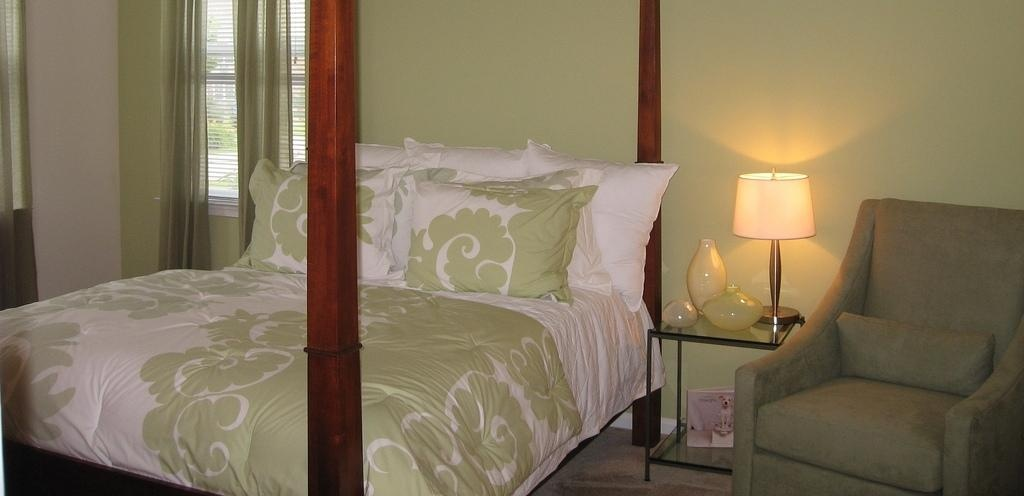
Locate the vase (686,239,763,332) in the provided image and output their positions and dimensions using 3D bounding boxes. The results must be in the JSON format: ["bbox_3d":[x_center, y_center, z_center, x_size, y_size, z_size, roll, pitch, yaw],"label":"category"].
[{"bbox_3d":[1.437,0.279,5.208,0.503,0.614,0.640,-3,4,-29],"label":"vase"}]
